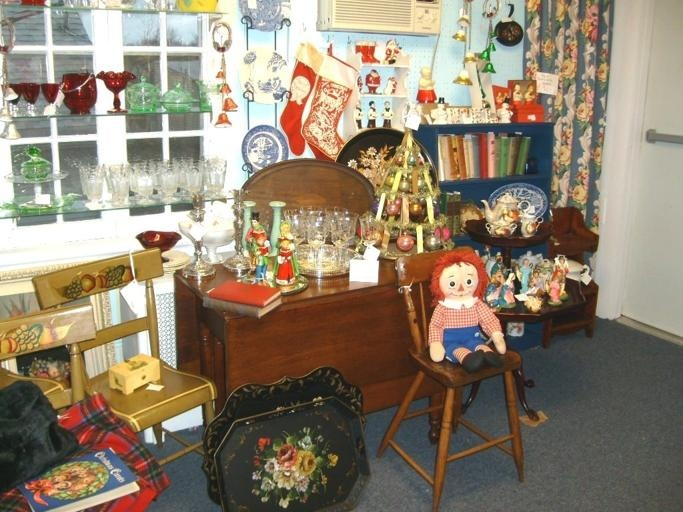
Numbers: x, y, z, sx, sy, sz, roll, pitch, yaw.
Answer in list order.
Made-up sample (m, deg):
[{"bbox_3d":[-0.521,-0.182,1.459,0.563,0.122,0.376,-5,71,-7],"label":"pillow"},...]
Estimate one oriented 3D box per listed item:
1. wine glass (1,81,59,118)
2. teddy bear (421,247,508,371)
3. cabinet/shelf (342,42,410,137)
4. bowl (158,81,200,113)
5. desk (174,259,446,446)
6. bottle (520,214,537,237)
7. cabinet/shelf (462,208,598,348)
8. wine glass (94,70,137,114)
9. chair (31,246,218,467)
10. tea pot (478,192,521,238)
[{"bbox_3d":[-1.706,-0.853,3.002,0.240,0.152,0.084,0,19,-11],"label":"wine glass"},{"bbox_3d":[0.685,0.301,3.062,0.402,0.603,0.495,-11,17,-23],"label":"teddy bear"},{"bbox_3d":[0.270,-1.274,4.098,0.500,0.646,0.186,-10,16,-26],"label":"cabinet/shelf"},{"bbox_3d":[-0.997,-0.951,3.362,0.224,0.164,0.215,0,15,0],"label":"bowl"},{"bbox_3d":[-0.075,0.555,3.367,0.582,0.727,1.066,11,3,33],"label":"desk"},{"bbox_3d":[1.225,-0.209,3.669,0.149,0.152,0.111,1,3,-10],"label":"bottle"},{"bbox_3d":[1.312,0.184,3.863,1.010,0.971,0.328,-9,16,-25],"label":"cabinet/shelf"},{"bbox_3d":[-1.325,-0.959,3.223,0.216,0.223,0.213,-8,16,-28],"label":"wine glass"},{"bbox_3d":[-1.072,0.690,2.901,0.695,1.220,0.720,-14,21,-42],"label":"chair"},{"bbox_3d":[1.084,-0.272,3.700,0.300,0.293,0.228,1,7,5],"label":"tea pot"}]
